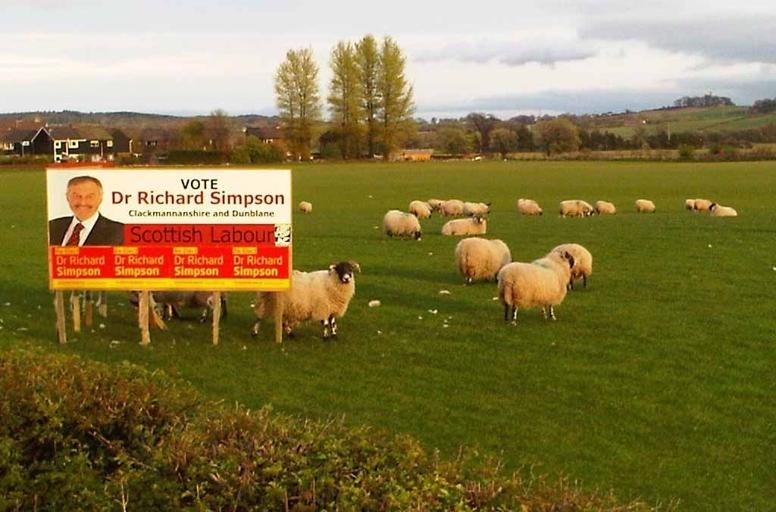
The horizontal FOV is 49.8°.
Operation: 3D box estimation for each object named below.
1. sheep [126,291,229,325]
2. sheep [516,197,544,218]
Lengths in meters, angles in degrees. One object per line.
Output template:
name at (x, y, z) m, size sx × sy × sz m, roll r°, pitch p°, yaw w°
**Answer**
sheep at (-8.019, 1.840, 32.365) m, size 3.471 × 1.255 × 2.373 m, roll -3°, pitch 9°, yaw -7°
sheep at (10.712, -3.726, 63.684) m, size 2.187 × 1.026 × 1.262 m, roll 26°, pitch 20°, yaw 11°
